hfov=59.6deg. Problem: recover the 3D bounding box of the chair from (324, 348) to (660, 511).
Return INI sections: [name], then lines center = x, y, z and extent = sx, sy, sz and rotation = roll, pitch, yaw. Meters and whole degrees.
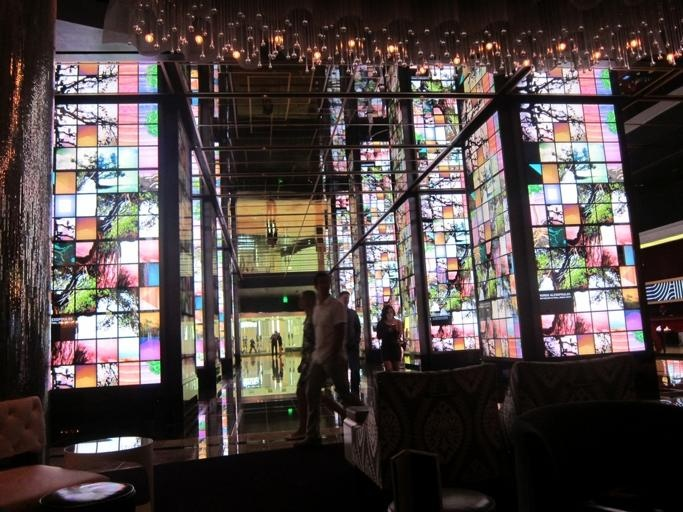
[chair]
center = 1.072, 1.474, 4.783
extent = 2.302, 1.265, 1.248
rotation = -7, -10, 29
